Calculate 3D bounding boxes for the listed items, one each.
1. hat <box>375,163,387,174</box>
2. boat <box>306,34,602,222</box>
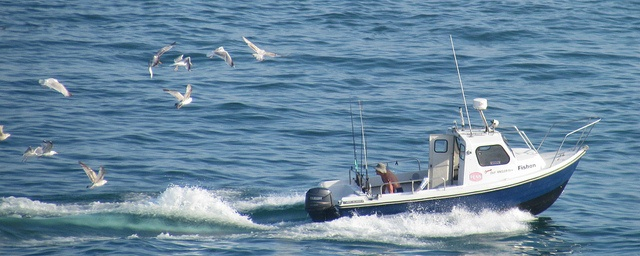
[{"bbox_3d":[4.415,2.744,72.823,0.841,0.653,0.506,5,38,-2],"label":"hat"},{"bbox_3d":[9.989,0.481,77.350,27.157,10.754,11.142,-2,13,-5],"label":"boat"}]
